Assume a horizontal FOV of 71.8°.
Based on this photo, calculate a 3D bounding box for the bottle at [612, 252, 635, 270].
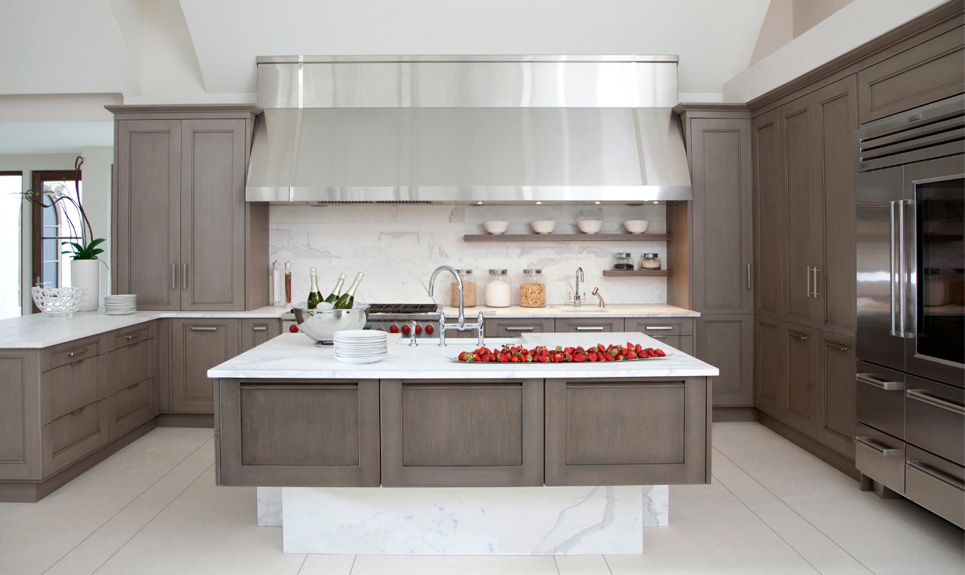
[{"bbox_3d":[1.608,-0.290,7.648,0.227,0.195,0.218,2,-2,-1],"label":"bottle"}]

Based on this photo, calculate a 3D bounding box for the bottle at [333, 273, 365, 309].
[{"bbox_3d":[-1.263,0.027,6.273,0.112,0.394,0.101,26,32,-29],"label":"bottle"}]

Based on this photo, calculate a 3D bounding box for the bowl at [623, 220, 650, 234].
[{"bbox_3d":[1.722,-0.676,7.542,0.205,0.111,0.195,-2,3,0],"label":"bowl"}]

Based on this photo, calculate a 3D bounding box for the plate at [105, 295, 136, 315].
[{"bbox_3d":[-3.777,0.174,6.919,0.248,0.136,0.234,1,-1,-4],"label":"plate"}]

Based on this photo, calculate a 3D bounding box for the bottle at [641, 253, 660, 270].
[{"bbox_3d":[1.878,-0.288,7.600,0.208,0.157,0.205,2,-4,0],"label":"bottle"}]

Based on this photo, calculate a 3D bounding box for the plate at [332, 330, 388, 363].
[{"bbox_3d":[-0.917,0.450,5.022,0.300,0.111,0.281,0,1,2],"label":"plate"}]
